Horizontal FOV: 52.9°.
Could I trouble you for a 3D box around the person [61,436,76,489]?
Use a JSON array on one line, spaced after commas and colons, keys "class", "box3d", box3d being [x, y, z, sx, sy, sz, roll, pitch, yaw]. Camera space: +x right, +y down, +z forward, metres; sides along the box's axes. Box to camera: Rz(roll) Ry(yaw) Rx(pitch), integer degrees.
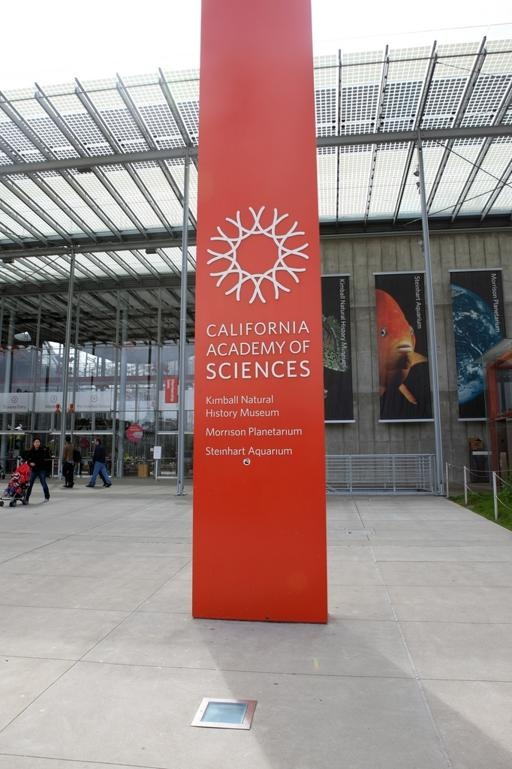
[{"class": "person", "box3d": [-6.641, 2.885, 18.480, 0.358, 1.506, 1.839, 6, -6, -21]}]
